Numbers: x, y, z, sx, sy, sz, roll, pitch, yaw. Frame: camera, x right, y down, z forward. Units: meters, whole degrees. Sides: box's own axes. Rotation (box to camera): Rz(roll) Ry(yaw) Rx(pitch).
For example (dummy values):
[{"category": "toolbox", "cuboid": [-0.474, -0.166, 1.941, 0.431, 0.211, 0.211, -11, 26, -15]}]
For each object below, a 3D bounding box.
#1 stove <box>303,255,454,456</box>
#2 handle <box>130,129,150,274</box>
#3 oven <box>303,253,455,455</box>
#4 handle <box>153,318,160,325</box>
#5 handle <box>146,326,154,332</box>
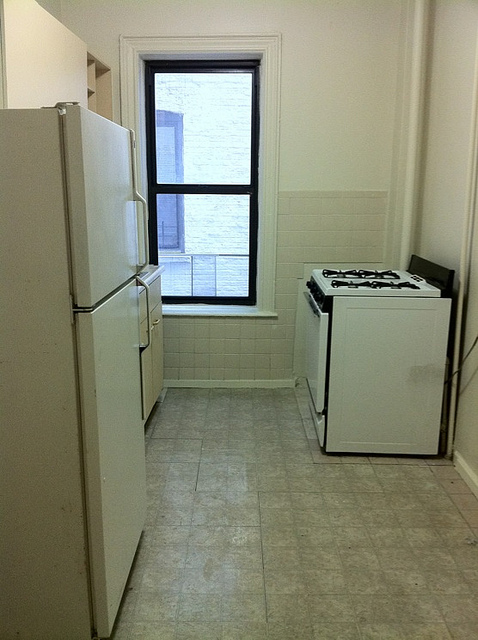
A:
[{"category": "stove", "cuboid": [0.743, 0.173, 3.165, 0.694, 0.922, 1.000, 3, 4, 11]}, {"category": "handle", "cuboid": [-0.325, -0.399, 1.813, 0.104, 0.580, 0.109, 1, 15, -7]}, {"category": "oven", "cuboid": [0.692, 0.183, 3.164, 0.678, 0.888, 0.972, 2, 4, 3]}, {"category": "handle", "cuboid": [-0.483, 0.011, 3.253, 0.007, 0.025, 0.025, 11, 9, 15]}, {"category": "handle", "cuboid": [-0.455, 0.045, 2.812, 0.035, 0.034, 0.010, -5, -18, 0]}]
